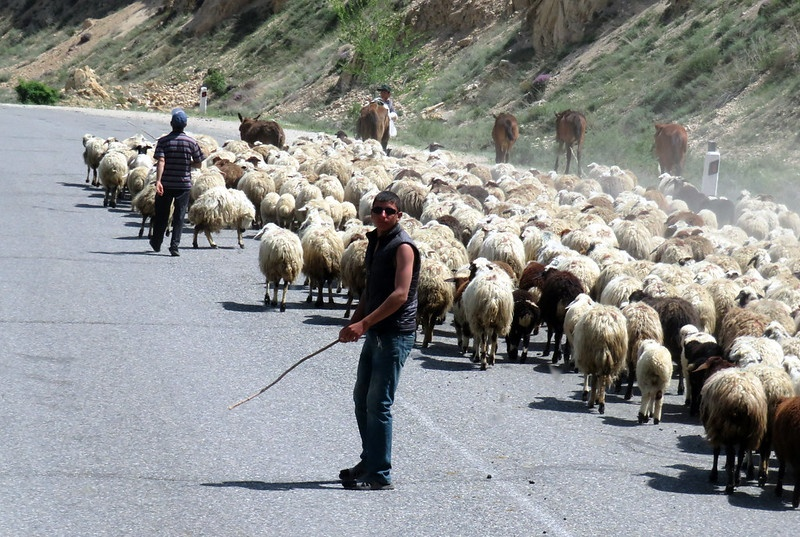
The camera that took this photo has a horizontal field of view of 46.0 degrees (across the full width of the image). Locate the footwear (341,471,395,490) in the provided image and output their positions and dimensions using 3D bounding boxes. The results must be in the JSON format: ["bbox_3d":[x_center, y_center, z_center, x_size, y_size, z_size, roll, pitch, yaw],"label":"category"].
[{"bbox_3d":[-0.360,2.322,10.413,0.549,0.171,0.188,3,-4,-2],"label":"footwear"}]

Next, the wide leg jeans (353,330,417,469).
[{"bbox_3d":[-0.236,1.444,10.372,0.577,1.571,0.379,7,6,4],"label":"wide leg jeans"}]

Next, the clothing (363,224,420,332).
[{"bbox_3d":[-0.114,0.097,10.396,0.721,1.186,0.466,8,6,15],"label":"clothing"}]

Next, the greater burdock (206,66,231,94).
[{"bbox_3d":[-13.021,-13.355,67.338,1.738,2.106,3.180,5,5,-12],"label":"greater burdock"}]
